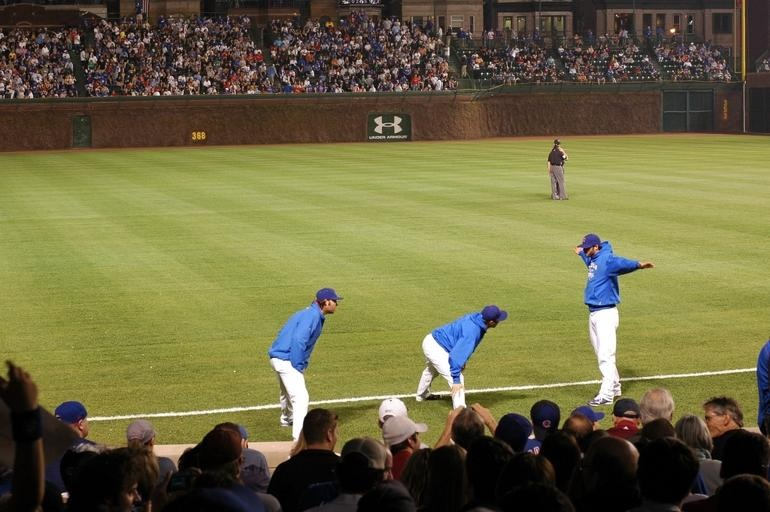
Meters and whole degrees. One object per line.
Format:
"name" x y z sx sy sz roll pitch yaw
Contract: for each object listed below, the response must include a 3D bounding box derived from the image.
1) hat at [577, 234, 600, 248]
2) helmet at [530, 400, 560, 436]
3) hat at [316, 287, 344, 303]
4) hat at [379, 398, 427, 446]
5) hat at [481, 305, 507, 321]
"hat" 3.639 -0.269 20.527 0.401 0.184 0.242 -3 8 -6
"helmet" 2.272 2.312 16.404 0.379 0.268 0.537 3 28 6
"hat" -0.901 0.639 19.001 0.383 0.158 0.239 2 7 -17
"hat" 0.246 2.316 16.413 0.910 0.383 0.553 -1 4 -32
"hat" 1.826 0.944 19.109 0.402 0.141 0.238 -4 28 -14
